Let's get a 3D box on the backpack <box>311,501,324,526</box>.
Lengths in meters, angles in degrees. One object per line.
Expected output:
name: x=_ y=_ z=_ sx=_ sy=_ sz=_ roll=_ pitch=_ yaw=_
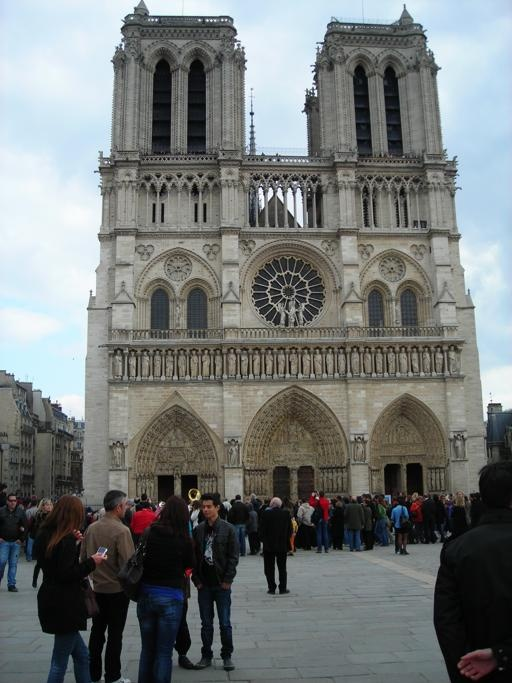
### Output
backpack: x=1.650 y=4.632 z=21.032 sx=0.241 sy=0.588 sz=0.464 roll=7 pitch=1 yaw=37

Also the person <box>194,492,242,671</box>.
person: x=-0.416 y=2.447 z=8.118 sx=0.459 sy=1.705 sz=0.669 roll=5 pitch=-14 yaw=-26

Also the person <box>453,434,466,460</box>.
person: x=8.777 y=4.524 z=34.001 sx=0.556 sy=1.178 sz=0.224 roll=2 pitch=-13 yaw=-14

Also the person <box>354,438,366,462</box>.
person: x=4.388 y=4.598 z=33.463 sx=0.576 sy=1.163 sz=0.162 roll=1 pitch=-13 yaw=-8

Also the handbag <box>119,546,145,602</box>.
handbag: x=-1.018 y=1.921 z=6.510 sx=0.196 sy=0.455 sz=0.248 roll=0 pitch=-12 yaw=-7

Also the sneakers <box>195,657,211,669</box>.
sneakers: x=-0.524 y=3.246 z=7.915 sx=0.151 sy=0.078 sz=0.258 roll=-1 pitch=-11 yaw=2

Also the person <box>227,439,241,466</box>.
person: x=-0.951 y=4.677 z=32.946 sx=0.557 sy=1.175 sz=0.133 roll=2 pitch=-13 yaw=-13

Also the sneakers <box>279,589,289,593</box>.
sneakers: x=0.461 y=4.088 z=12.819 sx=0.174 sy=0.060 sz=0.429 roll=-1 pitch=-11 yaw=2

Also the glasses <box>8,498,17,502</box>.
glasses: x=-4.107 y=2.681 z=13.281 sx=0.095 sy=0.065 sz=0.122 roll=2 pitch=-19 yaw=-16

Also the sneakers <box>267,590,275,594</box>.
sneakers: x=0.252 y=4.096 z=12.820 sx=0.137 sy=0.065 sz=0.287 roll=0 pitch=-11 yaw=-3

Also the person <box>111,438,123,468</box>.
person: x=-5.778 y=4.796 z=32.998 sx=0.596 sy=1.173 sz=0.142 roll=2 pitch=-13 yaw=-12
